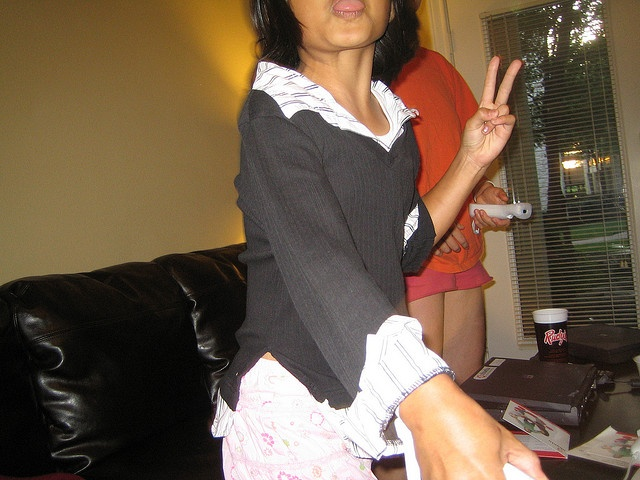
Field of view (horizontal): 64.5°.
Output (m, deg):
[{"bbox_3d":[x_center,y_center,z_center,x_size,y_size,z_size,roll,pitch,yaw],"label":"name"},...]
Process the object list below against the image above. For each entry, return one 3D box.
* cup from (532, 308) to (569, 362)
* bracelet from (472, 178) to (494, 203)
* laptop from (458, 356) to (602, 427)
[{"bbox_3d":[0.714,0.298,1.565,0.095,0.166,0.101,-6,2,0],"label":"cup"},{"bbox_3d":[0.493,-0.147,1.529,0.077,0.051,0.073,9,-8,1],"label":"bracelet"},{"bbox_3d":[0.554,0.382,1.321,0.193,0.058,0.218,3,9,20],"label":"laptop"}]
